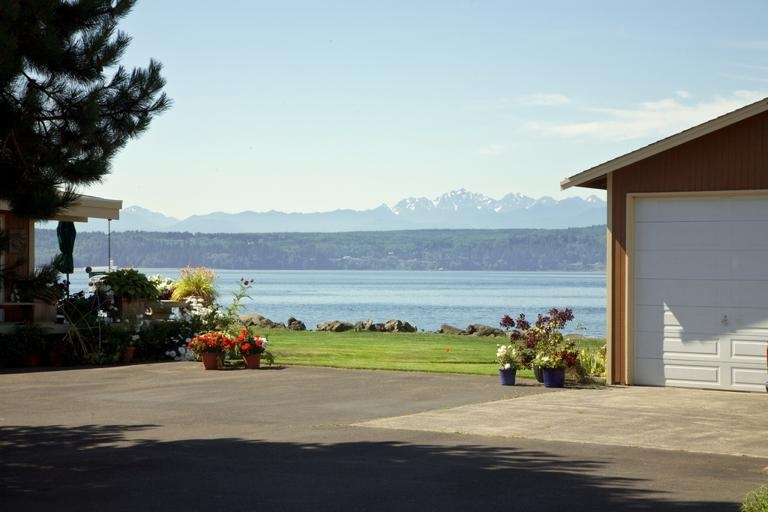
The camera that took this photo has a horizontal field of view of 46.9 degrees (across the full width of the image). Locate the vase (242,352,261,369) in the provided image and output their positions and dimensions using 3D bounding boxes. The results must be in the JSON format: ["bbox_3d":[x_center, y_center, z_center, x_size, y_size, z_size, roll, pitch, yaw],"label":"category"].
[{"bbox_3d":[-3.015,2.349,19.958,0.343,0.292,0.381,-1,-5,9],"label":"vase"}]

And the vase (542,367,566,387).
[{"bbox_3d":[3.307,2.359,17.345,0.367,0.282,0.376,-2,-7,5],"label":"vase"}]

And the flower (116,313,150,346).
[{"bbox_3d":[-6.114,1.760,21.183,0.805,0.598,0.638,4,4,-12],"label":"flower"}]

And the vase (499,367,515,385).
[{"bbox_3d":[2.422,2.363,17.443,0.310,0.361,0.329,-1,-6,4],"label":"vase"}]

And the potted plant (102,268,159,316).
[{"bbox_3d":[-6.383,0.896,22.067,1.134,1.128,1.107,-1,0,-42],"label":"potted plant"}]

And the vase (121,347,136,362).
[{"bbox_3d":[-6.081,2.305,20.827,0.139,0.383,0.326,-3,-6,24],"label":"vase"}]

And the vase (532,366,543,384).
[{"bbox_3d":[3.093,2.389,17.827,0.309,0.355,0.316,-1,-3,-4],"label":"vase"}]

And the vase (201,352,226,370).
[{"bbox_3d":[-3.846,2.327,19.727,0.407,0.307,0.401,1,-3,-41],"label":"vase"}]
